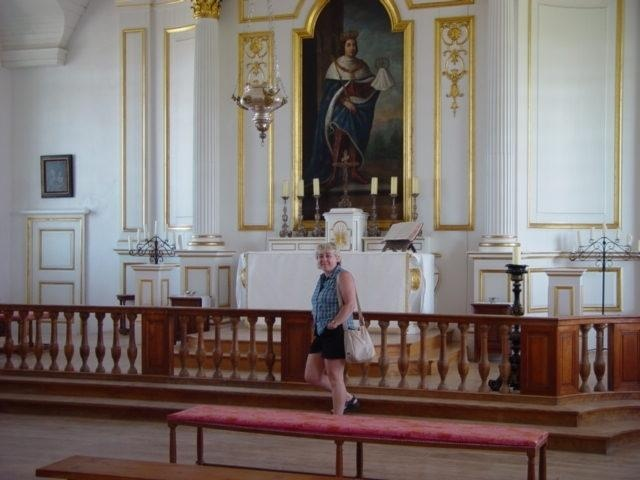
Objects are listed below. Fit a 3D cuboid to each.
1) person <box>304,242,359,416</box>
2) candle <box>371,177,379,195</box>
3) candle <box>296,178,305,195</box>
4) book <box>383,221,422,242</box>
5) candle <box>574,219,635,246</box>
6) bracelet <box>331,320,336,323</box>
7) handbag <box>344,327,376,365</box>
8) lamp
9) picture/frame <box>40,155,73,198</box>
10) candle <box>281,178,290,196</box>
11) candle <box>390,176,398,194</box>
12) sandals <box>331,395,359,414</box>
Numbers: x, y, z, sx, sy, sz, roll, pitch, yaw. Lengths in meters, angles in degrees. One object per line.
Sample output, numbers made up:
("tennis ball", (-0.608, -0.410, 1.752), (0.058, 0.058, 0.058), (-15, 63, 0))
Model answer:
("person", (0.104, 0.834, 6.147), (0.536, 1.599, 0.267), (0, 1, 40))
("candle", (0.842, -0.831, 10.334), (0.142, 0.270, 0.411), (-1, 1, 5))
("candle", (-0.323, -0.826, 10.630), (0.105, 0.298, 0.334), (-1, 1, -2))
("book", (1.170, -0.112, 9.416), (0.315, 0.110, 0.354), (-1, 35, 32))
("candle", (4.322, -0.061, 10.060), (0.968, 0.334, 0.312), (-1, 1, -12))
("bracelet", (0.110, 0.745, 5.984), (0.016, 0.035, 0.050), (-1, 1, -24))
("handbag", (0.370, 0.964, 6.052), (0.189, 0.302, 0.297), (0, 1, 43))
("lamp", (-0.845, -2.657, 9.469), (0.728, 2.583, 3.298), (-1, 1, -4))
("picture/frame", (-4.741, -1.135, 11.884), (0.622, 0.816, 0.085), (1, 2, 20))
("candle", (-0.573, -0.820, 10.709), (0.138, 0.305, 0.475), (-1, 1, -4))
("candle", (1.142, -0.835, 10.296), (0.121, 0.314, 0.389), (-1, 1, 7))
("sandals", (0.258, 1.594, 6.411), (0.120, 0.184, 0.391), (-4, -10, 15))
